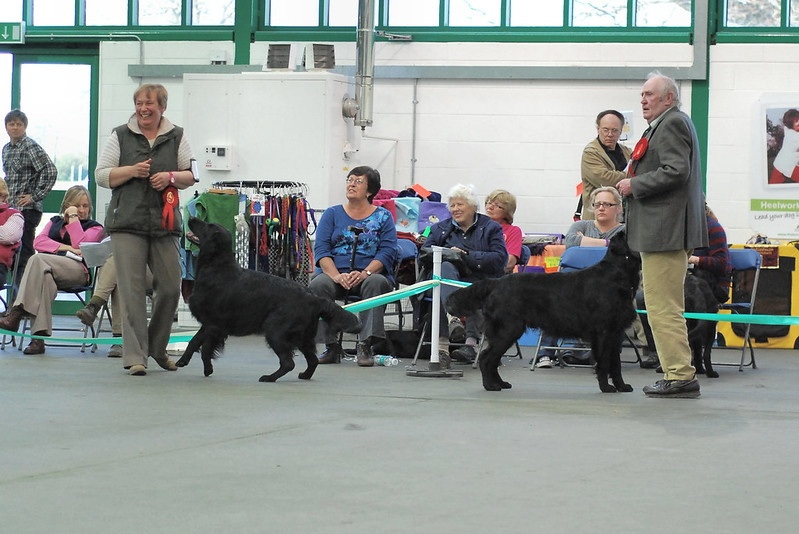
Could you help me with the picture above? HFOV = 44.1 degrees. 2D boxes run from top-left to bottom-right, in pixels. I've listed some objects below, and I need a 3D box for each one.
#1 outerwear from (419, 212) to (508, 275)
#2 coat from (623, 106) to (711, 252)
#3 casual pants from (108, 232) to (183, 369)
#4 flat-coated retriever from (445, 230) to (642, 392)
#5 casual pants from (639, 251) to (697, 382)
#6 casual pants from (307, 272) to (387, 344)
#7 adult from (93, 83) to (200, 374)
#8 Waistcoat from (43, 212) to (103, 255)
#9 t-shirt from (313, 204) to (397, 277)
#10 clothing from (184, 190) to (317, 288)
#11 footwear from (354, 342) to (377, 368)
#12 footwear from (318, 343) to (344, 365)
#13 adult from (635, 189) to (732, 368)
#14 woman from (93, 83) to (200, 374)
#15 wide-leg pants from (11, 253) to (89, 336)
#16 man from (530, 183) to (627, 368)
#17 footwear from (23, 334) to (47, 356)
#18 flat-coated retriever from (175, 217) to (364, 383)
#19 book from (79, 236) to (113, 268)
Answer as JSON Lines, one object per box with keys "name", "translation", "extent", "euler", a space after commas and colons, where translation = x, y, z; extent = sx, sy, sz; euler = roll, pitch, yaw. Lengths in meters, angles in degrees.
{"name": "outerwear", "translation": [0.565, -0.179, 8.751], "extent": [0.755, 0.665, 0.458], "euler": [1, 2, 13]}
{"name": "coat", "translation": [1.904, -0.589, 7.451], "extent": [0.884, 1.292, 1.130], "euler": [0, 3, 13]}
{"name": "casual pants", "translation": [-1.988, 0.139, 7.767], "extent": [0.530, 1.248, 0.458], "euler": [-2, 5, -20]}
{"name": "flat-coated retriever", "translation": [1.111, 0.352, 7.723], "extent": [1.253, 0.931, 0.404], "euler": [-1, -19, 11]}
{"name": "casual pants", "translation": [1.900, 0.337, 6.958], "extent": [0.377, 0.914, 0.211], "euler": [0, 1, 7]}
{"name": "casual pants", "translation": [-0.409, 0.364, 8.759], "extent": [0.732, 0.657, 0.605], "euler": [0, -9, 2]}
{"name": "adult", "translation": [-1.965, -0.332, 7.732], "extent": [0.824, 2.262, 0.741], "euler": [2, -6, -38]}
{"name": "Waistcoat", "translation": [-3.088, -0.304, 9.329], "extent": [0.358, 0.227, 0.405], "euler": [7, 42, 8]}
{"name": "t-shirt", "translation": [-0.348, -0.232, 8.954], "extent": [0.996, 0.868, 0.552], "euler": [1, -5, 0]}
{"name": "clothing", "translation": [-1.375, -0.245, 9.086], "extent": [1.073, 1.089, 0.248], "euler": [0, 0, 6]}
{"name": "footwear", "translation": [-0.288, 0.765, 8.594], "extent": [0.159, 0.154, 0.377], "euler": [1, -8, -10]}
{"name": "footwear", "translation": [-0.587, 0.760, 8.648], "extent": [0.250, 0.219, 0.110], "euler": [8, -4, -18]}
{"name": "adult", "translation": [2.269, 0.296, 8.390], "extent": [0.829, 1.181, 0.804], "euler": [-7, -25, 43]}
{"name": "woman", "translation": [-1.950, -0.331, 7.757], "extent": [0.849, 2.258, 0.706], "euler": [1, -5, -39]}
{"name": "wide-leg pants", "translation": [-3.286, 0.246, 9.236], "extent": [0.480, 0.770, 0.503], "euler": [14, -30, -11]}
{"name": "man", "translation": [1.554, 0.070, 8.485], "extent": [0.504, 0.668, 0.543], "euler": [-6, 20, -24]}
{"name": "footwear", "translation": [-3.218, 0.705, 8.745], "extent": [0.107, 0.140, 0.292], "euler": [-1, -12, 11]}
{"name": "flat-coated retriever", "translation": [-0.982, 0.294, 7.549], "extent": [1.478, 1.107, 0.494], "euler": [7, 3, 14]}
{"name": "book", "translation": [-2.802, -0.193, 9.006], "extent": [0.312, 0.281, 0.093], "euler": [-10, 41, -27]}
